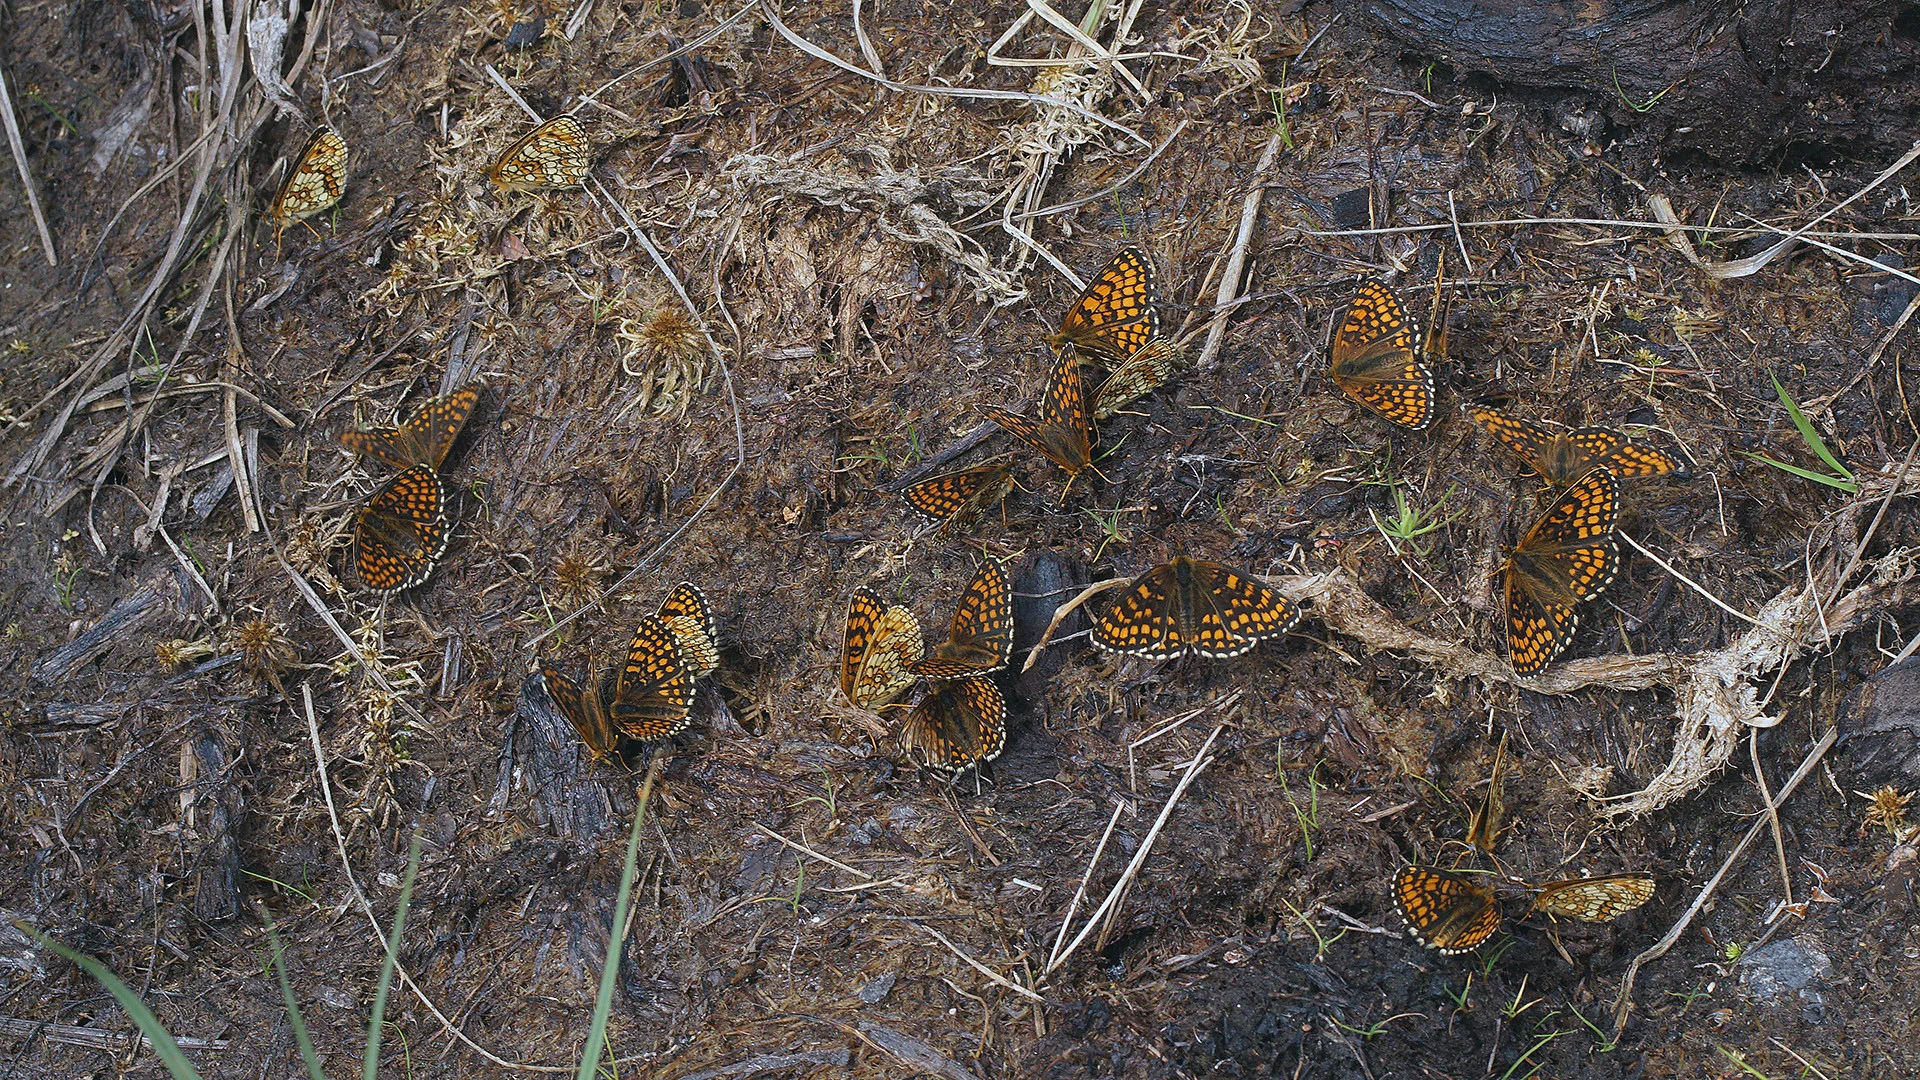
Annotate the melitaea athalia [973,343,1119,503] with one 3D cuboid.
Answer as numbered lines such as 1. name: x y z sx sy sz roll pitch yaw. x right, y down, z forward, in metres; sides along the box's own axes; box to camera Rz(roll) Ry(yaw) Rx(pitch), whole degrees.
1. melitaea athalia: 0.468 -0.477 7.486 0.472 0.280 0.470 -41 79 -3

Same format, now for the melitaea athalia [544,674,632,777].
1. melitaea athalia: -1.530 0.721 7.461 0.363 0.196 0.374 -17 113 24

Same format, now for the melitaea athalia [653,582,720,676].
1. melitaea athalia: -1.118 0.349 7.454 0.288 0.137 0.349 -35 83 13

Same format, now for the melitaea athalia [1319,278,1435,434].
1. melitaea athalia: 1.773 -0.746 7.389 0.549 0.216 0.449 35 84 10

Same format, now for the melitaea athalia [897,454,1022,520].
1. melitaea athalia: 0.010 -0.217 7.522 0.297 0.325 0.173 -9 89 11

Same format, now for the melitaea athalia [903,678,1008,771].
1. melitaea athalia: -0.023 0.753 7.366 0.433 0.251 0.379 -8 79 3

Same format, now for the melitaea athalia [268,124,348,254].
1. melitaea athalia: -2.895 -1.592 8.071 0.394 0.292 0.387 39 100 -10

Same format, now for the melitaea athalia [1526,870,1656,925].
1. melitaea athalia: 2.477 1.393 7.085 0.346 0.253 0.120 -34 26 22
